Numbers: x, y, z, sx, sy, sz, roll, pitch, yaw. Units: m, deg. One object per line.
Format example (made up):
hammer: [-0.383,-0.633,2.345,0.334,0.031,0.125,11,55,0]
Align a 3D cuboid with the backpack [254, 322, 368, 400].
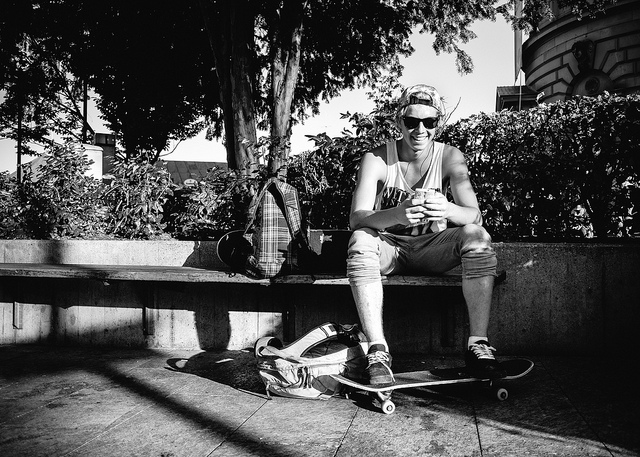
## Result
backpack: [-0.055,1.024,4.904,0.741,0.456,0.618,-2,3,-21]

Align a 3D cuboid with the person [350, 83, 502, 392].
person: [0.847,-0.011,5.038,1.187,2.329,1.130,-1,11,3]

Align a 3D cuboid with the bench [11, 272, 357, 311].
bench: [-1.018,0.692,6.116,2.764,0.411,0.044,-1,-7,8]

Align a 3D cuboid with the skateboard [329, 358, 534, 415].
skateboard: [0.876,1.280,4.798,1.326,0.228,0.342,-4,1,-9]
